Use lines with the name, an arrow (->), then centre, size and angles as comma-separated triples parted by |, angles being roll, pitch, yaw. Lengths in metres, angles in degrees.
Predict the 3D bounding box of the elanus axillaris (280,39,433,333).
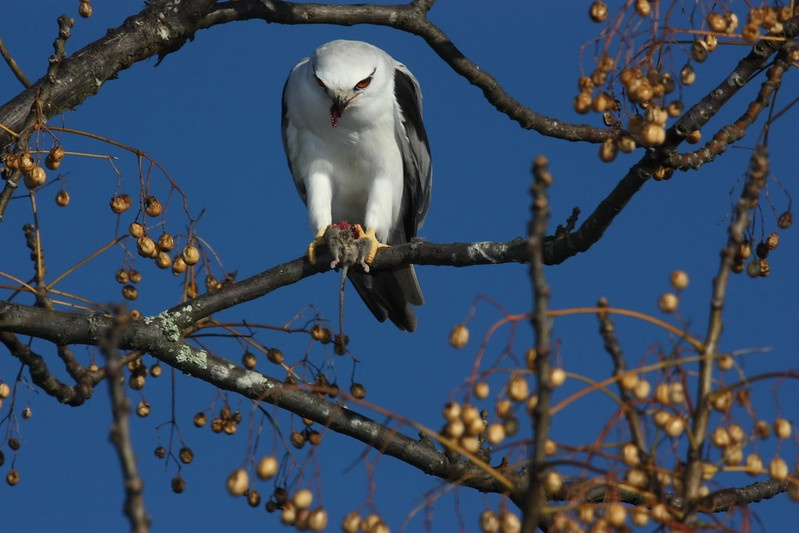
elanus axillaris -> -0.247, -0.689, 14.157 | 0.981, 1.753, 2.050 | -1, -97, 17

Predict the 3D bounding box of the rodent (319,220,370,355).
rodent -> -0.305, 0.090, 12.543 | 0.374, 0.536, 1.190 | 1, -90, 5
